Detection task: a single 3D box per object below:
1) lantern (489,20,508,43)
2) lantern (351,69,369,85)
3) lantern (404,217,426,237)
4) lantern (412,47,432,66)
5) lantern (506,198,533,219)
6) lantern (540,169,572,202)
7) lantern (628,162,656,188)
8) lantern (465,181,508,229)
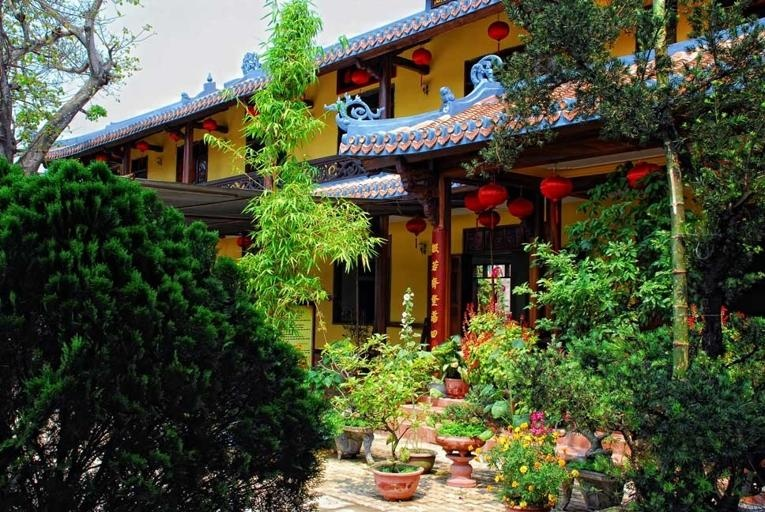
[{"bbox_3d":[1.748,-3.377,11.050,0.242,0.283,0.417,-5,-14,32],"label":"lantern"},{"bbox_3d":[-0.364,-2.988,12.452,0.307,0.278,0.254,-4,4,-35],"label":"lantern"},{"bbox_3d":[0.519,-0.446,11.311,0.252,0.302,0.262,-4,3,2],"label":"lantern"},{"bbox_3d":[0.659,-3.259,12.115,0.271,0.395,0.283,-3,1,-3],"label":"lantern"},{"bbox_3d":[1.661,-0.575,8.941,0.270,0.257,0.256,2,-4,4],"label":"lantern"},{"bbox_3d":[1.911,-0.752,8.079,0.314,0.387,0.357,1,-5,-20],"label":"lantern"},{"bbox_3d":[2.650,-0.849,7.536,0.085,0.234,0.230,50,-16,-17],"label":"lantern"},{"bbox_3d":[1.209,-0.663,8.821,0.414,0.455,0.960,1,-12,2],"label":"lantern"}]
